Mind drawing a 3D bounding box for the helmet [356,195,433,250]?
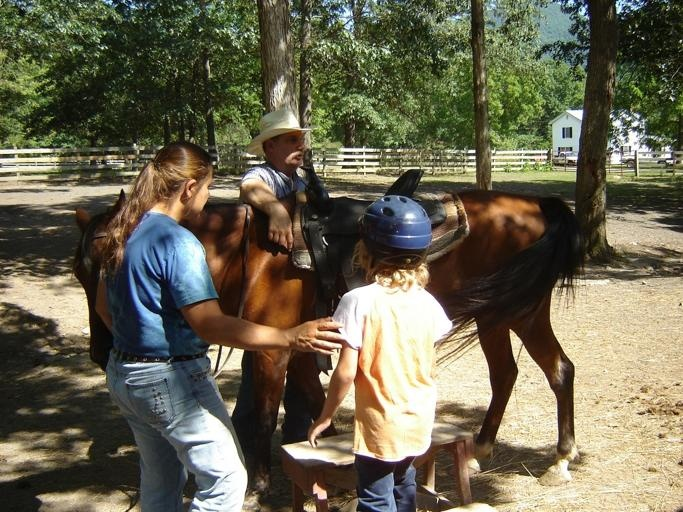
[{"bbox_3d":[0.317,-0.186,3.931,0.423,0.395,0.605,4,9,-3],"label":"helmet"}]

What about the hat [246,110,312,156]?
[{"bbox_3d":[-0.586,-1.034,5.156,0.534,0.214,0.471,-26,22,-15],"label":"hat"}]
